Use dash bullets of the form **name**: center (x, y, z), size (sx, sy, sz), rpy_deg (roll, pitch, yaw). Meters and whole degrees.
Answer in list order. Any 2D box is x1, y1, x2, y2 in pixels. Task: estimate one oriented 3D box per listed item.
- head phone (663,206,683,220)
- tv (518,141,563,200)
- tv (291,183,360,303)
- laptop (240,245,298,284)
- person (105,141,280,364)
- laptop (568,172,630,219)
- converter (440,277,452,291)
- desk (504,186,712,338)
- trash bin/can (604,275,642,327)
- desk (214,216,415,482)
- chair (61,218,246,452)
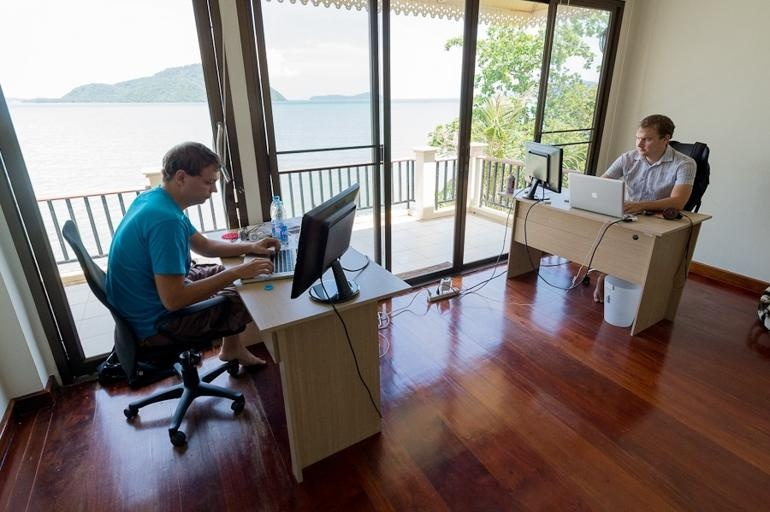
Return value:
- **head phone**: center (2.408, -0.359, 4.062), size (0.189, 0.088, 0.097), rpy_deg (-11, 25, -22)
- **tv**: center (1.420, -0.782, 4.551), size (0.217, 0.493, 0.499), rpy_deg (-14, 25, -18)
- **tv**: center (-0.316, -0.067, 3.108), size (0.309, 0.670, 0.673), rpy_deg (14, 29, 19)
- **laptop**: center (-0.774, 0.070, 3.391), size (0.281, 0.032, 0.321), rpy_deg (-9, 26, -21)
- **person**: center (-1.355, 0.159, 3.566), size (1.193, 1.828, 0.841), rpy_deg (-13, 25, -32)
- **laptop**: center (1.759, -0.430, 4.262), size (0.494, 0.380, 0.388), rpy_deg (9, 63, 7)
- **converter**: center (0.589, 0.275, 4.752), size (0.068, 0.129, 0.068), rpy_deg (12, 32, 18)
- **desk**: center (1.987, -0.031, 4.702), size (0.742, 0.991, 1.469), rpy_deg (-16, 26, -30)
- **trash bin/can**: center (2.049, 0.438, 4.411), size (0.344, 0.417, 0.379), rpy_deg (19, -2, 11)
- **desk**: center (-0.630, 1.012, 3.885), size (1.087, 1.422, 2.140), rpy_deg (-11, 27, -26)
- **chair**: center (-1.601, 0.438, 3.542), size (0.977, 1.530, 0.997), rpy_deg (-9, 15, -12)
